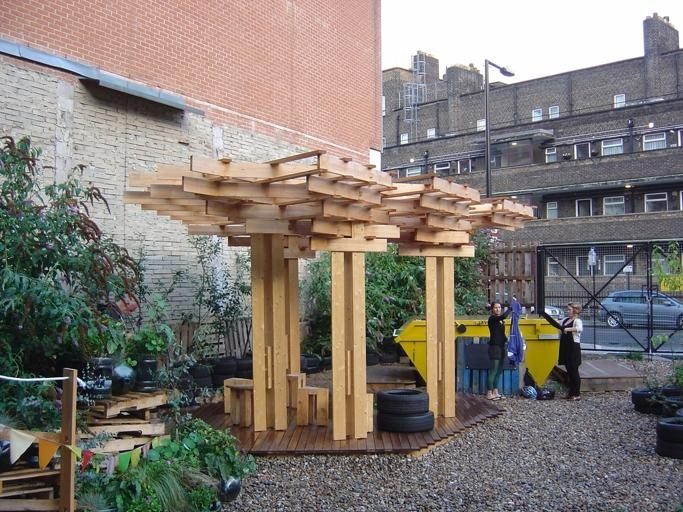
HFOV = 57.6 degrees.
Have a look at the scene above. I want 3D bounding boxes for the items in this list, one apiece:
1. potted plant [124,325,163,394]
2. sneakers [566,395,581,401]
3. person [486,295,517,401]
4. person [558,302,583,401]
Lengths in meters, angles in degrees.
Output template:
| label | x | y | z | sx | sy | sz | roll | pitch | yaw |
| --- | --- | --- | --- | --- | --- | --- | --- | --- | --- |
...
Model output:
| label | x | y | z | sx | sy | sz | roll | pitch | yaw |
| --- | --- | --- | --- | --- | --- | --- | --- | --- | --- |
| potted plant | -2.807 | 1.458 | 8.937 | 0.543 | 0.869 | 0.569 | -1 | -4 | -22 |
| sneakers | 5.028 | 3.050 | 13.434 | 0.293 | 0.120 | 0.105 | 5 | -8 | 1 |
| person | 3.342 | 2.010 | 13.253 | 0.597 | 2.080 | 0.808 | -4 | -4 | 12 |
| person | 5.042 | 2.054 | 13.633 | 0.499 | 2.070 | 0.951 | -4 | -4 | 18 |
